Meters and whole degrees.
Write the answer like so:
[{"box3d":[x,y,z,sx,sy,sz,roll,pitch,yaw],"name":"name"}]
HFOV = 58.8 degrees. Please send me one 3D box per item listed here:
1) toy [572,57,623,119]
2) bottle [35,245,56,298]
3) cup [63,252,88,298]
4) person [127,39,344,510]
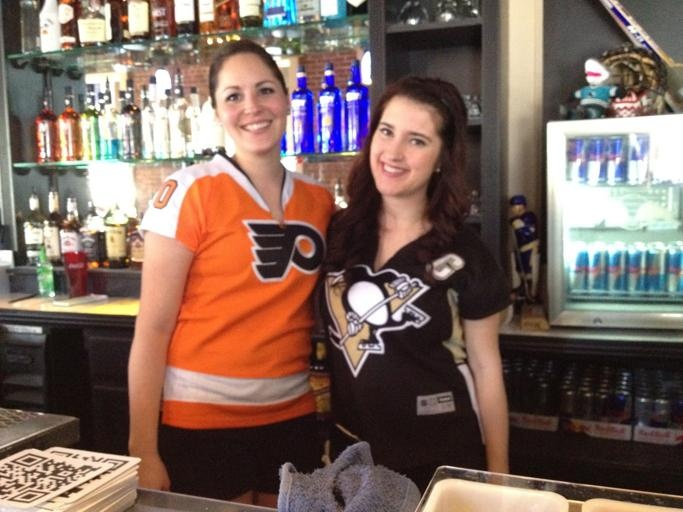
[{"box3d":[1.149,-0.753,2.728,0.180,0.276,0.144,2,6,23],"name":"toy"},{"box3d":[-1.743,0.090,3.586,0.091,0.293,0.183,-3,7,-27],"name":"bottle"},{"box3d":[-1.513,0.104,3.476,0.114,0.256,0.084,-3,6,-25],"name":"cup"},{"box3d":[-0.373,0.286,2.115,0.704,1.270,0.253,-2,6,-15],"name":"person"}]
